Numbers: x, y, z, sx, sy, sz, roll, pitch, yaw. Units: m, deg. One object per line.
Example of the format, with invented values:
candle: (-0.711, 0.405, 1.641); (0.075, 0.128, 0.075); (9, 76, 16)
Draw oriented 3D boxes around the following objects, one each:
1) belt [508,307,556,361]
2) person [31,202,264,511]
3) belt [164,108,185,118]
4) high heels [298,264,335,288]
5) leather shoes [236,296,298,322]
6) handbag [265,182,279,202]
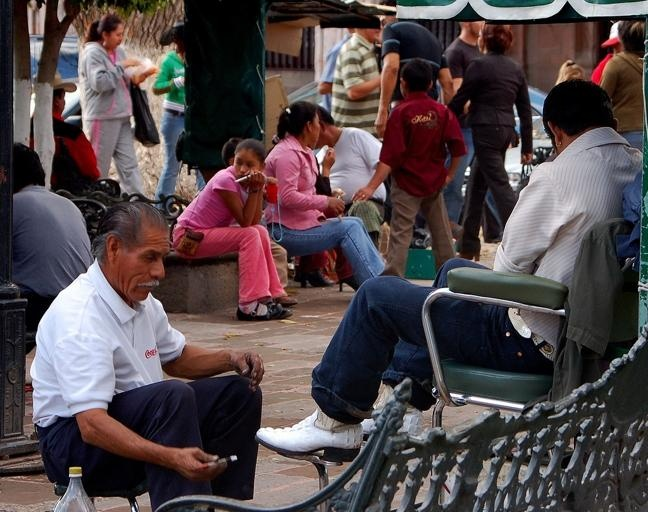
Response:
belt: (0.952, 0.362, 5.220); (0.130, 0.257, 0.189); (-30, -3, 16)
person: (-0.704, 0.438, 4.767); (0.936, 1.304, 0.869); (-2, 5, -30)
belt: (-1.639, -1.557, 12.433); (0.254, 0.084, 0.282); (7, 4, 7)
high heels: (-0.110, 0.228, 11.384); (0.399, 0.236, 0.146); (3, 2, -12)
leather shoes: (-0.487, 0.418, 9.441); (0.435, 0.223, 0.198); (-5, 7, -9)
handbag: (-0.434, -0.512, 9.467); (0.112, 0.184, 0.124); (-11, 16, 0)
